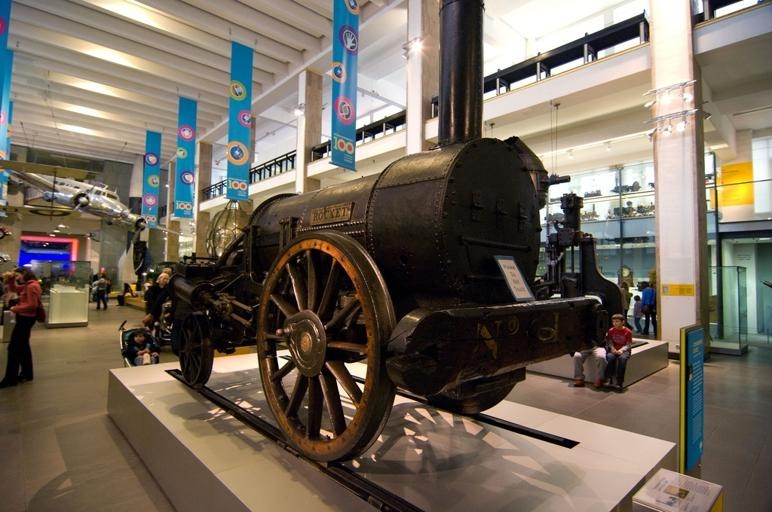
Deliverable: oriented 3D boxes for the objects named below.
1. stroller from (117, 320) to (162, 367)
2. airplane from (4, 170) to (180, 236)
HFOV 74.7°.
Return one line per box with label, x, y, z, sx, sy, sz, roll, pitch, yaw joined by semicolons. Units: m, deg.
stroller;-5.043;1.877;10.450;0.671;0.709;0.855;1;-3;-40
airplane;-13.456;-2.633;21.567;2.970;0.899;4.228;22;-1;6
